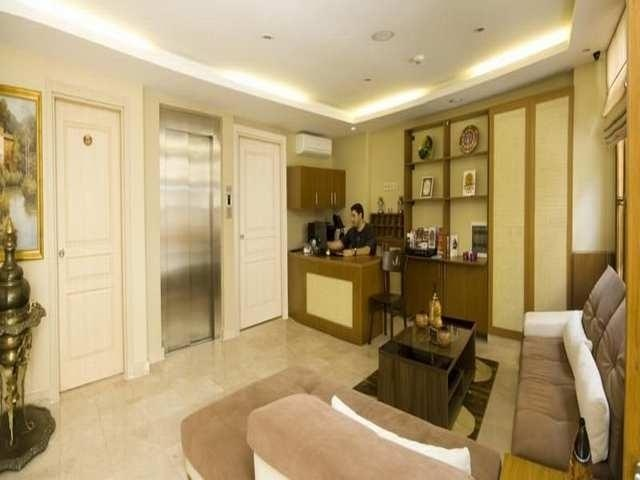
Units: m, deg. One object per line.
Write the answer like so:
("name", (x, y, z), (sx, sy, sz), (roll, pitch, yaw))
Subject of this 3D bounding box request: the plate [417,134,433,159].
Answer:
("plate", (1.421, -1.238, 6.353), (0.174, 0.330, 0.074), (20, 18, 32))

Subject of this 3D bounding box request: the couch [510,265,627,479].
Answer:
("couch", (2.059, 1.107, 3.882), (0.470, 0.639, 1.399), (0, 19, 28))

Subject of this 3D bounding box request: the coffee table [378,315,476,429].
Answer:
("coffee table", (1.213, 1.279, 4.761), (0.629, 0.682, 1.226), (10, 17, 37))

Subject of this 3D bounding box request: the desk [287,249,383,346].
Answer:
("desk", (0.266, 0.693, 6.325), (1.188, 0.954, 0.668), (7, 14, 38))

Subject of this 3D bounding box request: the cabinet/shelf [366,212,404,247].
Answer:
("cabinet/shelf", (0.988, -0.102, 6.984), (0.552, 0.610, 0.219), (4, 9, 36))

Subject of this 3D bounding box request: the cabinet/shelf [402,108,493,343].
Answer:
("cabinet/shelf", (1.644, -0.211, 6.225), (1.251, 2.772, 0.592), (3, 4, 29))

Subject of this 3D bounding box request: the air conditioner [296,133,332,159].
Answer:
("air conditioner", (-0.080, -1.424, 7.114), (0.197, 0.335, 0.673), (4, 5, 38))

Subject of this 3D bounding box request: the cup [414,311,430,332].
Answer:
("cup", (1.003, 0.808, 4.625), (0.135, 0.172, 0.120), (6, 8, 33))

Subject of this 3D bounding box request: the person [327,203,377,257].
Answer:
("person", (0.484, -0.118, 6.697), (0.627, 0.981, 0.674), (1, 0, -33))
